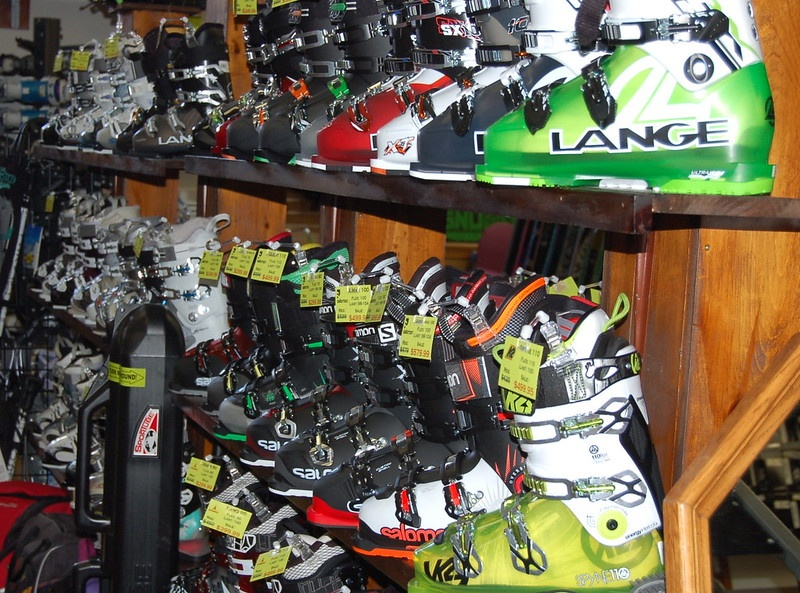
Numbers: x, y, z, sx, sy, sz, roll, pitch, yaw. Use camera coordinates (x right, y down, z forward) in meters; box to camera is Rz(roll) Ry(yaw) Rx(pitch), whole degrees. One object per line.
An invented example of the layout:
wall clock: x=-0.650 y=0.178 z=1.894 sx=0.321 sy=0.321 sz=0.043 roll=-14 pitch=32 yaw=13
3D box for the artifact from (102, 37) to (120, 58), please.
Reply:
artifact: x=-1.328 y=-1.170 z=2.860 sx=0.092 sy=0.099 sz=0.024 roll=-1 pitch=-7 yaw=30

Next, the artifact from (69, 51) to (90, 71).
artifact: x=-1.655 y=-1.229 z=3.179 sx=0.109 sy=0.118 sz=0.028 roll=5 pitch=-2 yaw=19
